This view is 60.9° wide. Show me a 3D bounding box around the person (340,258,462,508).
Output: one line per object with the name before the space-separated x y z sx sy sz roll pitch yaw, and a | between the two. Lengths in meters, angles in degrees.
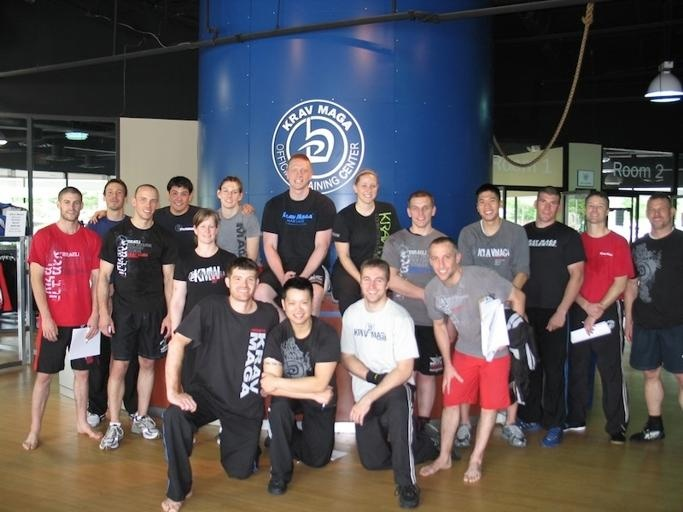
person | 0.276 0.870 4.216 0.631 1.653 0.587 2 7 9

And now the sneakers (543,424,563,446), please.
sneakers | 1.824 1.541 4.997 0.255 0.139 0.107 -7 10 -44

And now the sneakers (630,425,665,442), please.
sneakers | 2.665 1.553 5.117 0.306 0.123 0.112 0 -19 -7

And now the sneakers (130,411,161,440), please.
sneakers | -1.686 1.482 5.101 0.362 0.164 0.134 2 0 36

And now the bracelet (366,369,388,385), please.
bracelet | 0.268 0.905 4.339 0.136 0.084 0.059 13 9 24

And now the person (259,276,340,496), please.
person | -0.286 0.912 4.315 0.593 1.516 0.417 -2 8 -18

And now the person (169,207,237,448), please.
person | -1.121 0.530 4.941 0.520 1.728 0.484 -4 18 -22

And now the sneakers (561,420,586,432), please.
sneakers | 2.117 1.542 5.318 0.273 0.117 0.096 2 1 -10

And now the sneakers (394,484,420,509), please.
sneakers | 0.465 1.659 4.050 0.167 0.143 0.125 2 7 9

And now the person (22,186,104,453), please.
person | -2.374 0.501 4.939 0.670 2.130 0.416 -3 8 -22

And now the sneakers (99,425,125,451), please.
sneakers | -1.910 1.505 4.838 0.113 0.106 0.240 0 -1 -4
